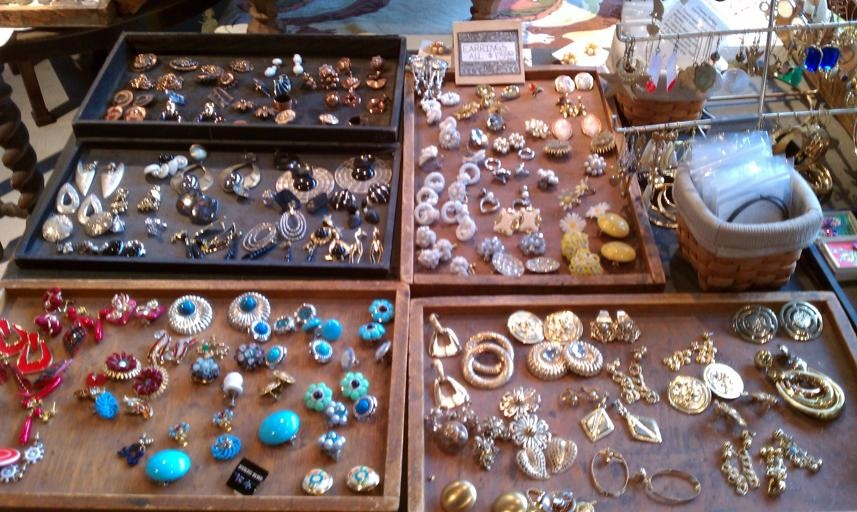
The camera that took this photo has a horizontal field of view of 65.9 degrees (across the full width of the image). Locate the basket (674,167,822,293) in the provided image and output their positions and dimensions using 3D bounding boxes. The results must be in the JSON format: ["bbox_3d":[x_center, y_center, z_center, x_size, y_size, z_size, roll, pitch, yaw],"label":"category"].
[{"bbox_3d":[1.277,-0.109,2.931,0.548,0.555,0.513,-1,45,-1],"label":"basket"}]

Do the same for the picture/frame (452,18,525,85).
[{"bbox_3d":[0.291,-1.061,3.477,0.506,0.290,0.393,-2,42,1],"label":"picture/frame"}]
